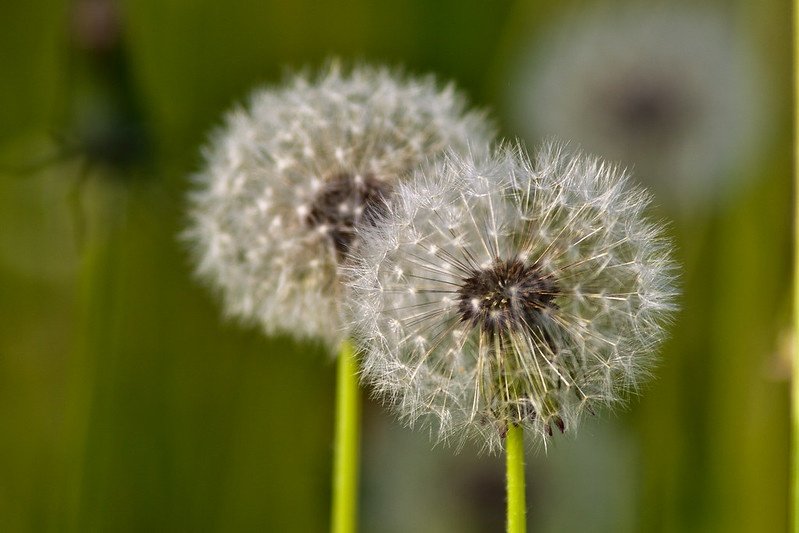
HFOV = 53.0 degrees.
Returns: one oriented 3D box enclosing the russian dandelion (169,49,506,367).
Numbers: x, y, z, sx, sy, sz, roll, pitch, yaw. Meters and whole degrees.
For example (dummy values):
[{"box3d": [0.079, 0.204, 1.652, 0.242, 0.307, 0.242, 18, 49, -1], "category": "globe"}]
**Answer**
[{"box3d": [-0.196, -0.135, 1.589, 0.557, 0.255, 0.662, -11, 86, 2], "category": "russian dandelion"}]
